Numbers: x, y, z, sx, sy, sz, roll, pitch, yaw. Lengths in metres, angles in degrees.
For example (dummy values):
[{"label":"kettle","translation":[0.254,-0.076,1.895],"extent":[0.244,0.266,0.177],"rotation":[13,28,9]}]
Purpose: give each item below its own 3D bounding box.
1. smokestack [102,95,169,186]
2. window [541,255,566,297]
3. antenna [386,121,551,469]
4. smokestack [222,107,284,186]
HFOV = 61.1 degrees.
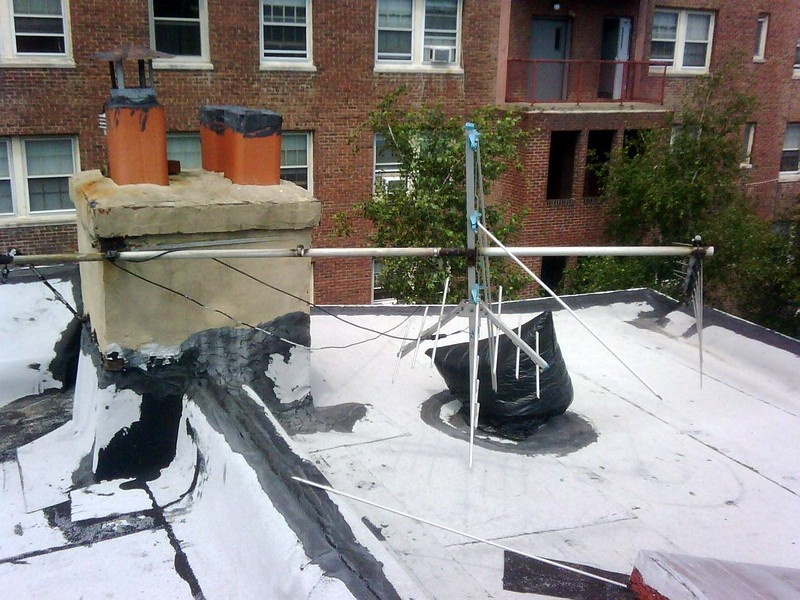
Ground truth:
[{"label":"smokestack","translation":[-3.129,-1.933,8.028],"extent":[0.622,1.088,0.296],"rotation":[-5,15,-21]},{"label":"window","translation":[6.677,-1.133,29.241],"extent":[0.157,1.538,0.836],"rotation":[-18,12,-14]},{"label":"antenna","translation":[0.995,-0.142,8.840],"extent":[1.823,4.121,2.281],"rotation":[-7,16,-15]},{"label":"smokestack","translation":[-1.967,-1.971,8.694],"extent":[0.802,0.947,0.547],"rotation":[10,17,31]}]
